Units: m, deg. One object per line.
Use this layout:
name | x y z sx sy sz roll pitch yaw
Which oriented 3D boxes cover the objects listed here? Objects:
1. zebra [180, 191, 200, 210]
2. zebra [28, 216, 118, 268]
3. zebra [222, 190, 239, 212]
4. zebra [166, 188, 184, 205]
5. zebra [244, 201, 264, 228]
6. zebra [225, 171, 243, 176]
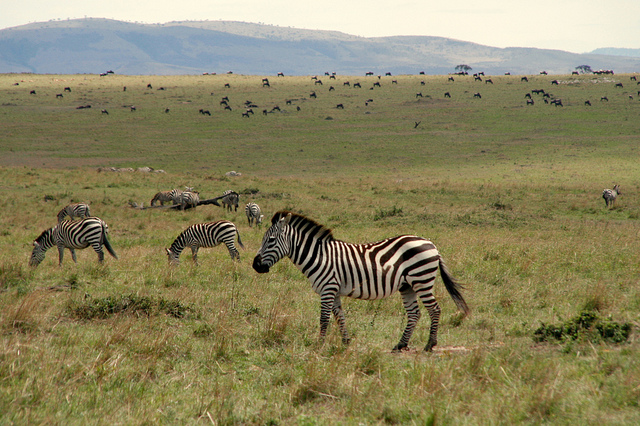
zebra | -9.748 -0.898 63.945 1.300 1.266 0.576 -4 11 -24
zebra | -14.970 1.751 51.922 4.590 2.742 1.190 -1 10 -6
zebra | -6.708 -0.897 64.708 0.895 1.514 1.713 -4 11 -22
zebra | -10.744 -1.179 64.076 1.347 1.015 0.709 8 13 38
zebra | -4.790 0.106 61.781 0.705 1.606 2.283 -6 30 -34
zebra | -7.457 -3.351 74.307 1.559 0.530 0.423 5 15 -1
